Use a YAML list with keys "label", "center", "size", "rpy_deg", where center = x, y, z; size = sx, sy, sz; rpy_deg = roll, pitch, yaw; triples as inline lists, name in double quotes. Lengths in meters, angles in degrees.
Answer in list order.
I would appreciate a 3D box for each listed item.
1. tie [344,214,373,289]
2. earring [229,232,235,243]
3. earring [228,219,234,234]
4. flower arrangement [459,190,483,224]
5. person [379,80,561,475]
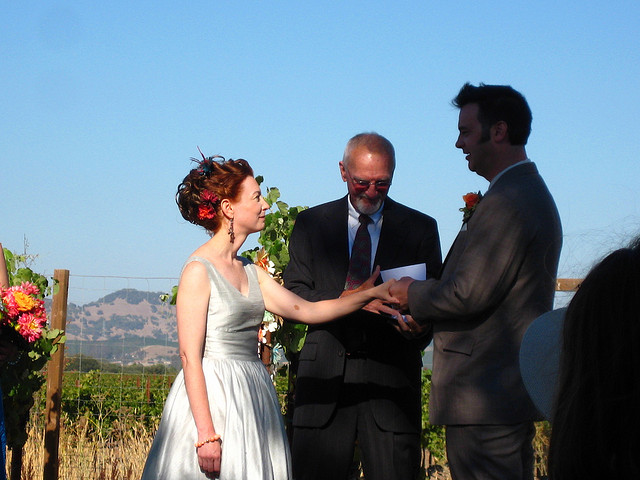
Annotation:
- label: "tie"
  center: [0.267, 0.089, 5.425]
  size: [0.170, 0.086, 0.758]
  rpy_deg: [0, -49, -5]
- label: "earring"
  center: [-0.538, -0.013, 4.931]
  size: [0.044, 0.092, 0.045]
  rpy_deg: [-1, 2, 1]
- label: "earring"
  center: [-0.546, -0.080, 4.913]
  size: [0.026, 0.079, 0.048]
  rpy_deg: [2, -14, -10]
- label: "flower arrangement"
  center: [1.138, -0.289, 5.973]
  size: [0.186, 0.114, 0.216]
  rpy_deg: [-31, -13, 7]
- label: "person"
  center: [0.988, 0.178, 4.826]
  size: [0.878, 2.375, 0.402]
  rpy_deg: [-5, -13, 20]
